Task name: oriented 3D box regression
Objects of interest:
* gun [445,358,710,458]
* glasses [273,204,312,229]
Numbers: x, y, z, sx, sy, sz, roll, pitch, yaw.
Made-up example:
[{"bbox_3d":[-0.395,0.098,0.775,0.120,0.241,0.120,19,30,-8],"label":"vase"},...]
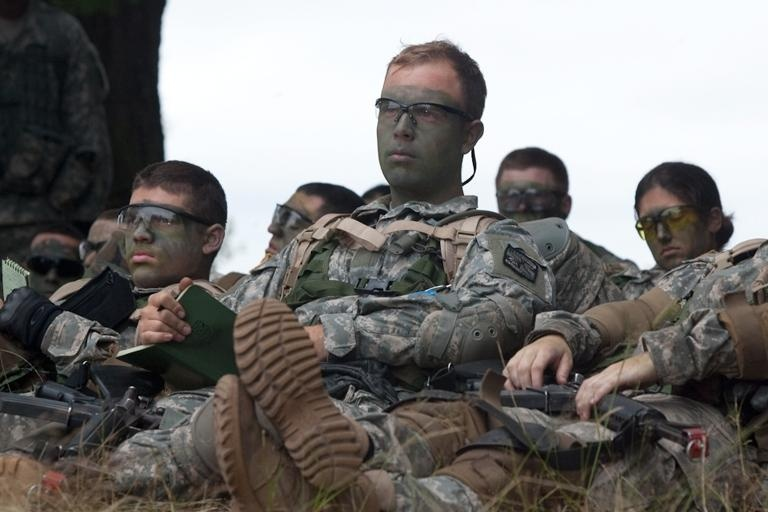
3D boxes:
[{"bbox_3d":[0.830,0.664,3.477,0.688,0.130,0.256,14,27,34],"label":"gun"},{"bbox_3d":[-0.733,-0.316,6.360,0.358,0.198,0.077,7,-10,27],"label":"glasses"}]
